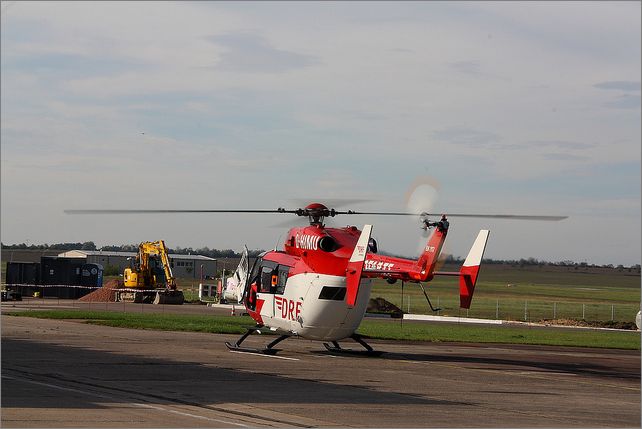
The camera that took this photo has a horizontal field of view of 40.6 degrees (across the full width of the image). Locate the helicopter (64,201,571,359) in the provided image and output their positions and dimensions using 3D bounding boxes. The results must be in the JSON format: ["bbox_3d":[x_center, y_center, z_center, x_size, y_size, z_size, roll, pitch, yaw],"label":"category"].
[{"bbox_3d":[-0.089,2.375,32.907,9.664,2.569,9.027,1,2,-35],"label":"helicopter"}]

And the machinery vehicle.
[{"bbox_3d":[-13.395,4.412,67.412,3.632,4.571,8.229,-4,2,-30],"label":"machinery vehicle"}]
